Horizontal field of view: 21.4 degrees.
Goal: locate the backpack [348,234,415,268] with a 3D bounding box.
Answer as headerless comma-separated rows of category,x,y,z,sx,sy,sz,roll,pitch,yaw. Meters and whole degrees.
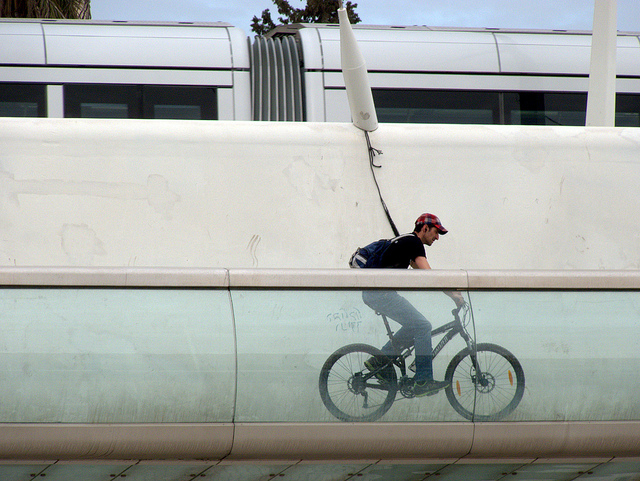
backpack,0.578,0.105,16.532,0.602,0.297,0.322,-4,6,0

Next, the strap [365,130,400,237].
strap,0.617,-0.527,17.160,0.127,1.121,0.060,-21,3,8

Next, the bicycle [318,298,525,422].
bicycle,0.897,1.112,15.954,1.921,1.327,0.919,-3,0,-4
